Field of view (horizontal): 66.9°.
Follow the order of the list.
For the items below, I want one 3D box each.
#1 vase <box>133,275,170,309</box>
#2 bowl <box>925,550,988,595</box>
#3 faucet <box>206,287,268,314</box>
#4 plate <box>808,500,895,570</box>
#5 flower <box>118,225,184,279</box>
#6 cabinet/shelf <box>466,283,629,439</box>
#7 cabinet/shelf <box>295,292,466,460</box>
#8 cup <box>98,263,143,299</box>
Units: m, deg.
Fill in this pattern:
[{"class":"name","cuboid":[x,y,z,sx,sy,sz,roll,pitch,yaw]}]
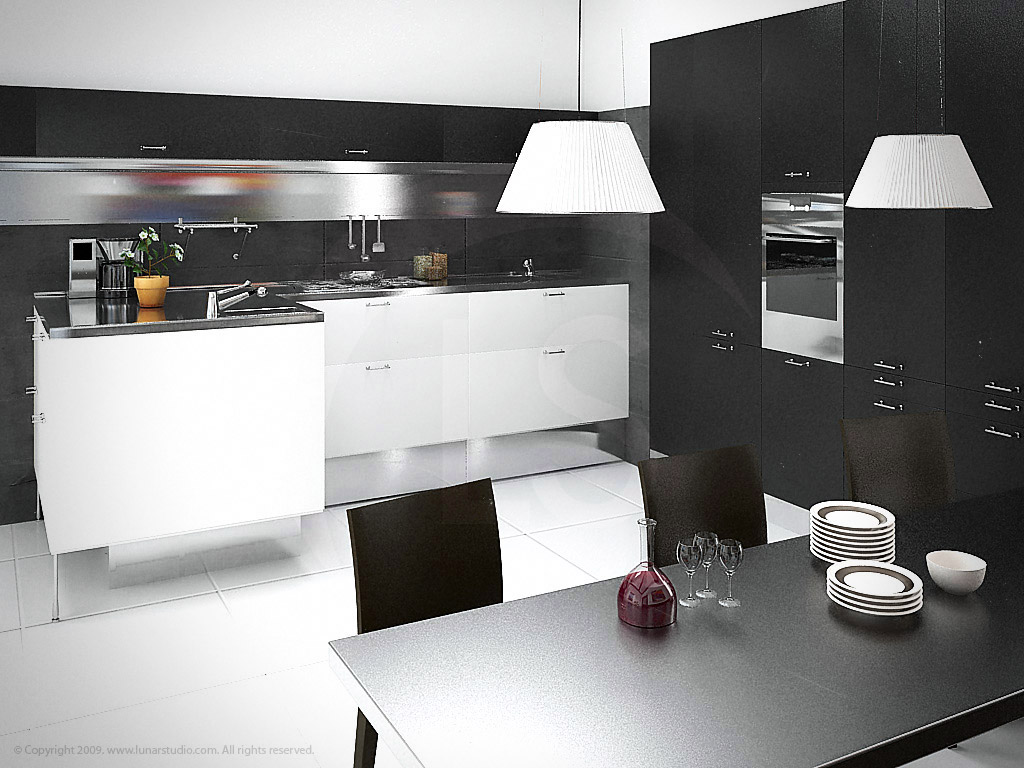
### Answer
[{"class":"vase","cuboid":[-1.827,-0.449,3.926,0.174,0.157,0.176,-1,4,-40]},{"class":"bowl","cuboid":[1.105,0.448,1.937,0.107,0.065,0.112,1,7,0]},{"class":"faucet","cuboid":[-1.425,-0.435,4.012,0.279,0.167,0.159,-7,12,-26]},{"class":"plate","cuboid":[0.933,0.407,2.165,0.176,0.079,0.182,-1,10,0]},{"class":"flower","cuboid":[-1.976,-0.713,4.262,0.319,0.344,0.336,6,8,12]},{"class":"cabinet/shelf","cuboid":[0.219,-0.149,5.401,1.472,1.223,0.851,-2,2,-23]},{"class":"cabinet/shelf","cuboid":[-0.727,-0.262,5.123,1.321,1.295,0.841,-6,12,-27]},{"class":"cup","cuboid":[-2.102,-0.541,4.187,0.221,0.226,0.210,0,2,0]}]
